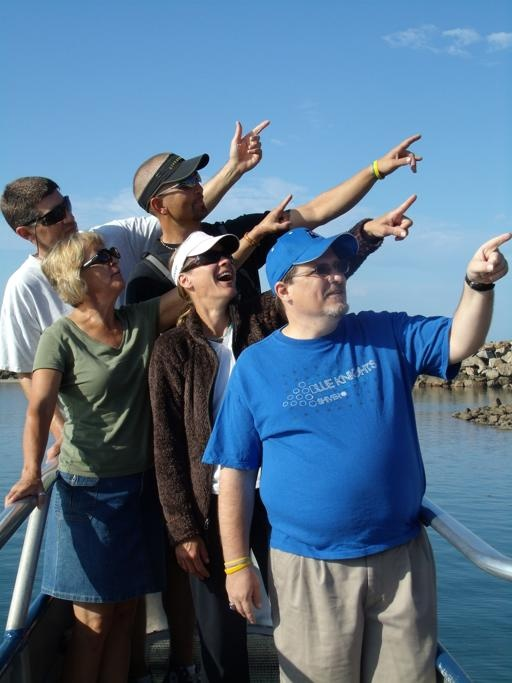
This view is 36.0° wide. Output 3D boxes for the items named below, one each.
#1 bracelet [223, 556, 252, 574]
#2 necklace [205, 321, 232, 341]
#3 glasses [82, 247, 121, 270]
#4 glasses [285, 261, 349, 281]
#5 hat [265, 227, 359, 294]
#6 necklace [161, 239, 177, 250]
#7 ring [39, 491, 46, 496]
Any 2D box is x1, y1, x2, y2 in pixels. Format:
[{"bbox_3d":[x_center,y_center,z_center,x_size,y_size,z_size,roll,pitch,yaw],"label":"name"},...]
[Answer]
[{"bbox_3d":[-0.078,0.886,3.120,0.089,0.037,0.076,-16,-2,-32],"label":"bracelet"},{"bbox_3d":[-0.166,-0.042,3.604,0.101,0.078,0.106,2,-35,-9],"label":"necklace"},{"bbox_3d":[-0.726,-0.387,3.670,0.131,0.038,0.124,-22,2,16],"label":"glasses"},{"bbox_3d":[0.231,-0.274,3.107,0.134,0.034,0.125,-20,-3,29],"label":"glasses"},{"bbox_3d":[0.166,-0.359,3.241,0.364,0.178,0.235,-34,-12,23],"label":"hat"},{"bbox_3d":[-0.483,-0.541,4.369,0.077,0.028,0.061,18,20,33],"label":"necklace"},{"bbox_3d":[-0.874,0.621,3.216,0.019,0.010,0.015,-37,-26,28],"label":"ring"}]
